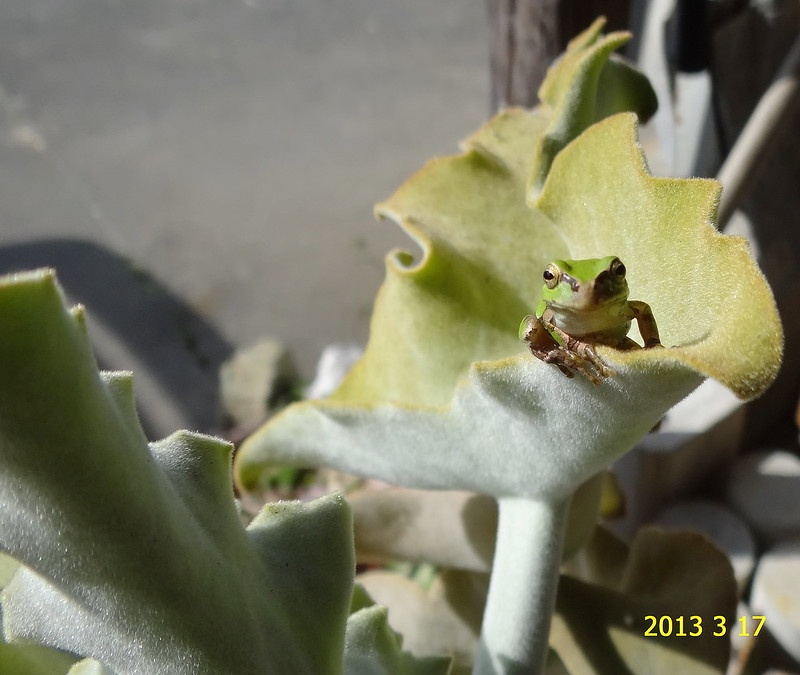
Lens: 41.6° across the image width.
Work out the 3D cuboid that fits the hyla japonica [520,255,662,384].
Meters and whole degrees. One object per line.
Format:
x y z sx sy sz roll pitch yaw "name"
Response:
0.093 -0.016 0.532 0.067 0.100 0.062 -2 97 10 "hyla japonica"
